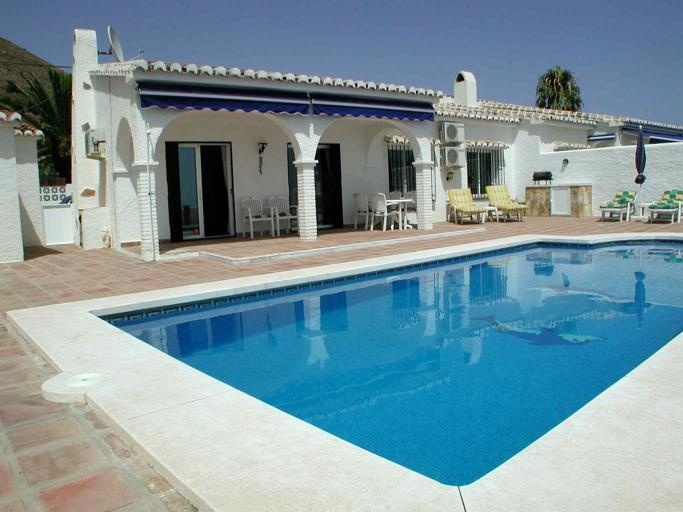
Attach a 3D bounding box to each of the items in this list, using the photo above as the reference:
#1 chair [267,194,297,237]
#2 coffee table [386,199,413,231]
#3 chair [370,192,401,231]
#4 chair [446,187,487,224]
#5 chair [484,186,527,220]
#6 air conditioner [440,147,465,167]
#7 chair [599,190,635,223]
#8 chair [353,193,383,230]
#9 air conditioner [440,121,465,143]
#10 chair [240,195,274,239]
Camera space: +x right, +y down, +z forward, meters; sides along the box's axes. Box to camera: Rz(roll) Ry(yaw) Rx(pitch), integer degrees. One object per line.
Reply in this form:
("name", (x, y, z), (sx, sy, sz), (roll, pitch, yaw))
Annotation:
("chair", (-1.809, -1.289, 14.830), (0.839, 1.107, 0.768), (-5, 7, -20))
("coffee table", (1.709, -1.350, 15.552), (0.979, 1.016, 1.065), (1, 6, 33))
("chair", (1.375, -1.461, 15.264), (0.872, 1.204, 0.865), (8, 16, 40))
("chair", (4.243, -1.722, 16.501), (0.917, 1.108, 1.271), (-6, 14, -9))
("chair", (5.885, -1.907, 17.320), (0.958, 1.200, 1.267), (-6, 13, -16))
("air conditioner", (3.934, -3.437, 17.335), (1.080, 0.862, 0.597), (-3, 4, -28))
("chair", (9.271, -1.692, 16.169), (0.979, 0.961, 1.489), (4, 10, 29))
("chair", (0.792, -1.521, 15.915), (0.797, 1.055, 0.724), (-4, 9, -34))
("air conditioner", (3.827, -4.348, 16.853), (0.771, 0.650, 0.268), (-3, 3, -34))
("chair", (-2.463, -1.200, 14.467), (1.077, 1.149, 0.876), (-7, 11, -36))
